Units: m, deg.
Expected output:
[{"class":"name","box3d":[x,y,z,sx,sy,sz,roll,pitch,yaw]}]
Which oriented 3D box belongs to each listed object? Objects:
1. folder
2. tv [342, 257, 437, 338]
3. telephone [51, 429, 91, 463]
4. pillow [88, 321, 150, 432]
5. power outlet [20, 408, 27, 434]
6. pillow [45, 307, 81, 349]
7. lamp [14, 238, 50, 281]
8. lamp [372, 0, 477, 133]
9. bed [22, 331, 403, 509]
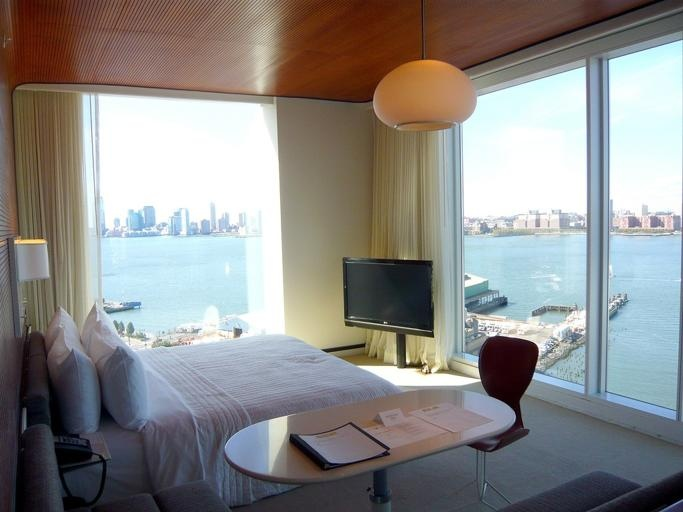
[{"class":"folder","box3d":[-0.011,0.983,2.597,0.376,0.031,0.422,-7,10,-31]},{"class":"tv","box3d":[0.607,0.468,5.976,1.029,0.736,0.098,1,4,30]},{"class":"telephone","box3d":[-1.494,1.066,2.779,0.134,0.080,0.253,0,-5,28]},{"class":"pillow","box3d":[-1.535,0.841,3.421,0.166,0.324,0.574,-10,16,-32]},{"class":"power outlet","box3d":[-1.765,0.919,2.766,0.022,0.173,0.037,-8,37,-37]},{"class":"pillow","box3d":[-2.313,0.591,4.110,0.131,0.245,0.339,-3,7,-27]},{"class":"lamp","box3d":[-2.759,0.043,4.460,0.205,0.328,0.444,-6,10,-23]},{"class":"lamp","box3d":[0.472,-0.910,2.796,0.481,0.367,0.336,-6,10,-22]},{"class":"bed","box3d":[-0.816,1.090,3.716,1.621,0.634,1.584,-4,8,-33]}]
